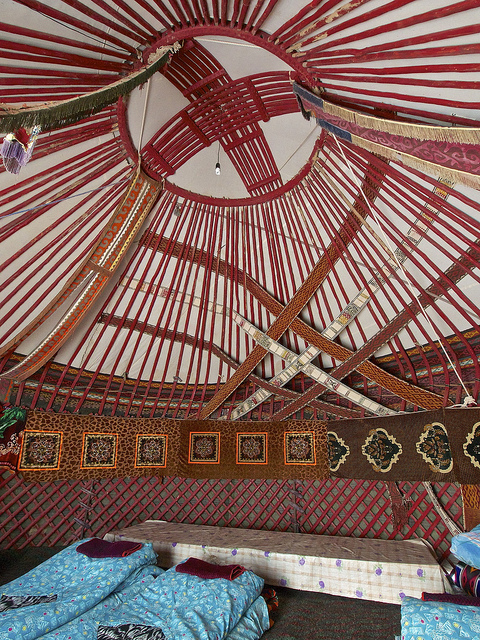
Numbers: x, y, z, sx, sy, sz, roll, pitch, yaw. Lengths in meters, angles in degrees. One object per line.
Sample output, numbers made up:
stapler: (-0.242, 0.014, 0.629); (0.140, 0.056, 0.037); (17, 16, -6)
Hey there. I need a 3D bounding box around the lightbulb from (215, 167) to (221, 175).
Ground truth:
lightbulb: (-0.214, -1.383, 3.450); (0.077, 0.128, 0.030); (1, -48, 1)
